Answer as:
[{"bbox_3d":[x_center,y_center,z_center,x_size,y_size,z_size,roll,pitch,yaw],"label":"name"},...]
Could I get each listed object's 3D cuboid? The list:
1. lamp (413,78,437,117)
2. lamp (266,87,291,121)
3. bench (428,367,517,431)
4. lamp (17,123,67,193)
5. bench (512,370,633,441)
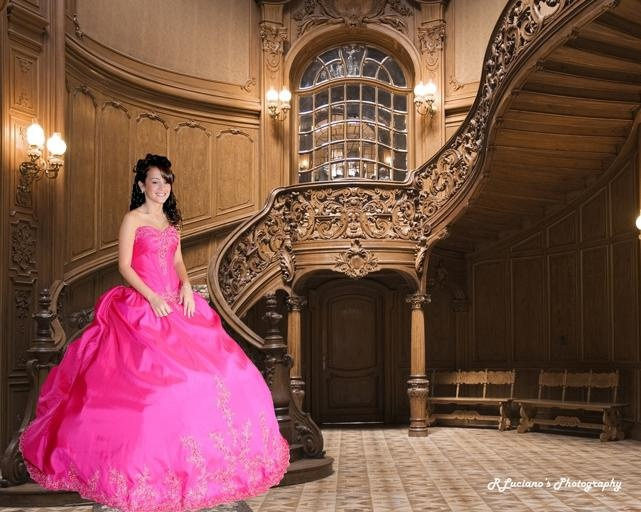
[{"bbox_3d":[2.055,-3.151,11.167,0.430,0.747,0.643,-2,-8,17],"label":"lamp"},{"bbox_3d":[-0.844,-3.015,11.330,0.528,0.727,0.404,1,-9,-23],"label":"lamp"},{"bbox_3d":[2.801,2.622,10.751,1.581,1.028,1.102,-3,-9,21],"label":"bench"},{"bbox_3d":[-3.387,-1.149,7.160,0.312,0.739,0.447,-1,5,-33],"label":"lamp"},{"bbox_3d":[4.040,2.406,9.424,0.550,1.194,1.651,15,-16,-29],"label":"bench"}]
